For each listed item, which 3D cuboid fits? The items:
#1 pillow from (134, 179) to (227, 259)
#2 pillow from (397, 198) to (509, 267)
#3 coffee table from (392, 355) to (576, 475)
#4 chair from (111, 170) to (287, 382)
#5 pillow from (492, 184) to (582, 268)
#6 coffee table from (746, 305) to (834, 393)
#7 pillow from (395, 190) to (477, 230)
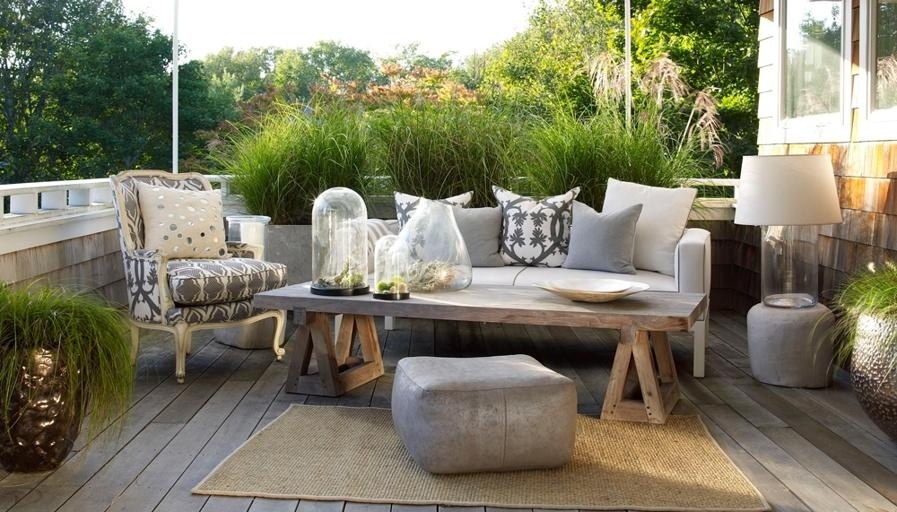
[{"bbox_3d":[-2.232,-0.300,4.892,0.368,0.654,0.763,10,5,38],"label":"pillow"},{"bbox_3d":[0.071,-0.095,5.298,1.092,0.961,0.393,1,-34,7],"label":"pillow"},{"bbox_3d":[0.154,0.944,3.698,1.270,0.547,1.305,0,0,11],"label":"coffee table"},{"bbox_3d":[-2.007,0.025,4.794,1.238,1.429,1.336,-1,10,-35],"label":"chair"},{"bbox_3d":[0.779,-0.235,5.139,0.872,0.735,0.344,1,-4,8],"label":"pillow"},{"bbox_3d":[2.626,0.667,4.454,0.628,0.563,0.616,-9,5,-39],"label":"coffee table"},{"bbox_3d":[-0.107,-0.381,4.884,0.598,0.426,0.200,0,12,0],"label":"pillow"}]
